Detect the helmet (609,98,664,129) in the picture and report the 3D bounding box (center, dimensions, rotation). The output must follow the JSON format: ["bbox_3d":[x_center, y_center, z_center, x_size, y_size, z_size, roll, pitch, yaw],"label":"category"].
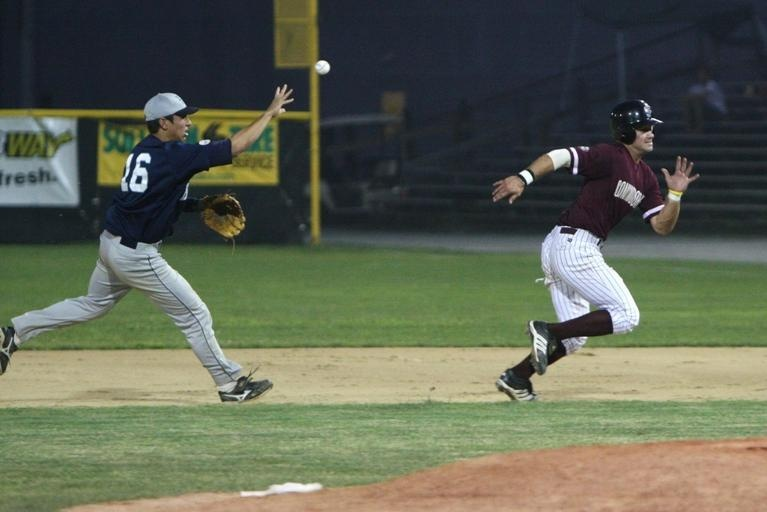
[{"bbox_3d":[2.507,-1.400,15.192,0.476,0.177,0.291,-1,10,13],"label":"helmet"}]

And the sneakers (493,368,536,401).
[{"bbox_3d":[1.303,1.295,15.196,0.528,0.225,0.189,27,24,-21],"label":"sneakers"}]

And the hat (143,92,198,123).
[{"bbox_3d":[-2.138,-1.449,15.012,0.483,0.179,0.283,-2,15,-5],"label":"hat"}]

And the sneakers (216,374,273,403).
[{"bbox_3d":[-1.395,1.306,15.270,0.652,0.231,0.211,-18,7,-3],"label":"sneakers"}]

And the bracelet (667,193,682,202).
[{"bbox_3d":[2.890,-0.577,15.211,0.121,0.071,0.099,-1,6,-4],"label":"bracelet"}]
